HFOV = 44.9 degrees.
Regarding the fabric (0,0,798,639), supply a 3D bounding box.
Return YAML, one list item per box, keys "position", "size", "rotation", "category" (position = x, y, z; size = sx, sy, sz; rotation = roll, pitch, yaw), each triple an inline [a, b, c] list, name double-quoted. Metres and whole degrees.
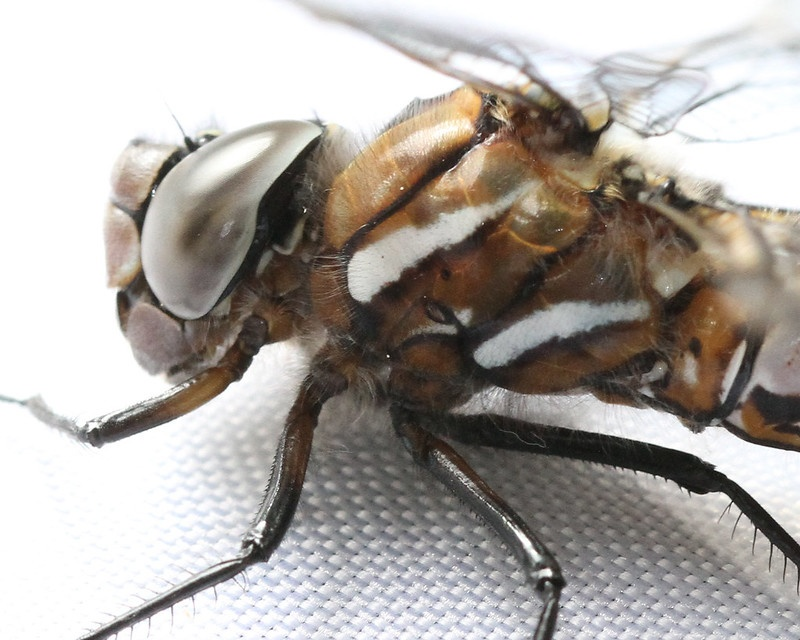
- position: [0.047, -0.051, 1.968]
  size: [1.726, 1.288, 0.386]
  rotation: [-2, 57, 12]
  category: "fabric"
